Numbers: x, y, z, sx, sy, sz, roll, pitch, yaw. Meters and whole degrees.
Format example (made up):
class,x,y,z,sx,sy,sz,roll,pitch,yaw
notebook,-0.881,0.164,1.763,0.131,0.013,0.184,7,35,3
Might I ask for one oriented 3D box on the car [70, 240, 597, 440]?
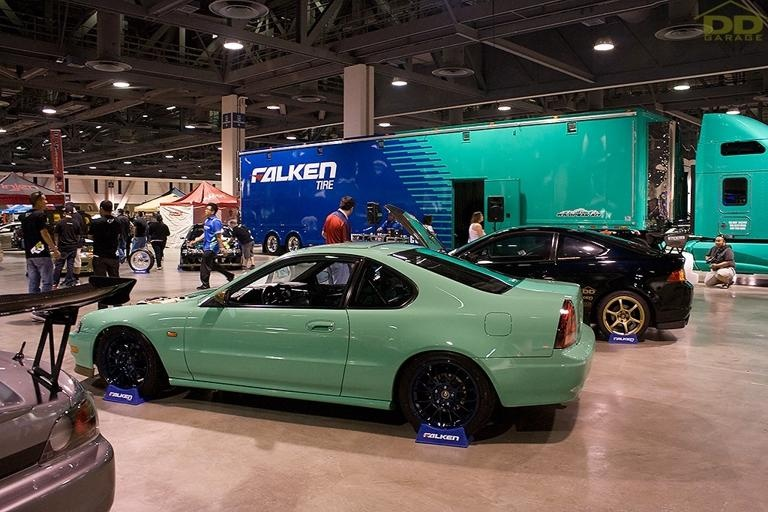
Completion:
class,x,y,z,sx,sy,sz,roll,pitch,yaw
car,-0.722,0.778,5.518,5.864,1.245,2.272,3,3,14

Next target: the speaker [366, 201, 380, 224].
class,x,y,z,sx,sy,sz,roll,pitch,yaw
speaker,-0.286,-1.174,12.585,0.367,0.492,1.079,5,4,11

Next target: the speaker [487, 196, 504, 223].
class,x,y,z,sx,sy,sz,roll,pitch,yaw
speaker,2.967,-1.257,12.313,0.447,0.681,0.264,2,8,19

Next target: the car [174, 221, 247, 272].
class,x,y,z,sx,sy,sz,roll,pitch,yaw
car,-7.026,-0.714,19.047,2.607,1.347,3.755,-13,20,-15
